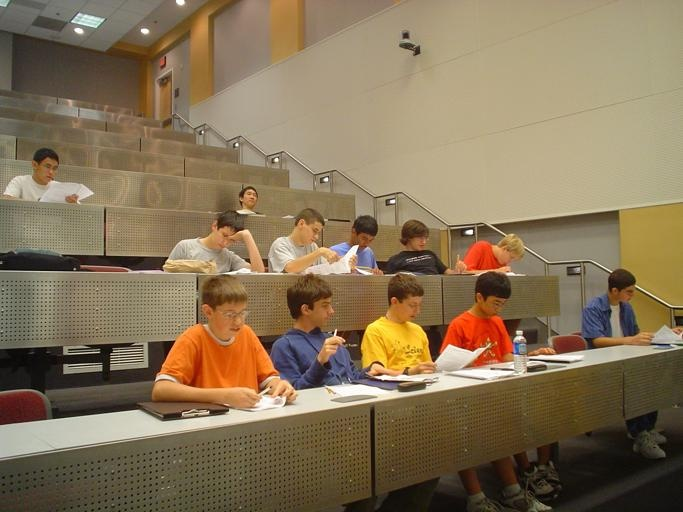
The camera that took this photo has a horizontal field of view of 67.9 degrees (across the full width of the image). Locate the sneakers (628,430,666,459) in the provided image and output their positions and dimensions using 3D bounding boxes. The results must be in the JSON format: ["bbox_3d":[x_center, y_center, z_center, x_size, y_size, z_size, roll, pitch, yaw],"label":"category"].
[{"bbox_3d":[2.343,1.440,3.865,0.174,0.219,0.211,3,3,-32],"label":"sneakers"}]

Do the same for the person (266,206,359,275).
[{"bbox_3d":[-0.241,-0.051,4.365,0.604,0.660,0.766,3,3,-39],"label":"person"}]

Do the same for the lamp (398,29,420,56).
[{"bbox_3d":[1.132,-3.505,8.360,0.149,0.398,0.394,-1,41,18],"label":"lamp"}]

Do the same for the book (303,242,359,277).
[{"bbox_3d":[-0.076,0.031,3.985,0.386,0.160,0.252,5,2,-6],"label":"book"}]

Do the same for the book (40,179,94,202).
[{"bbox_3d":[-2.473,-0.592,4.554,0.275,0.111,0.283,7,-29,-44],"label":"book"}]

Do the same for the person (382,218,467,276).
[{"bbox_3d":[0.797,0.044,4.760,0.678,0.807,0.604,-1,0,22],"label":"person"}]
